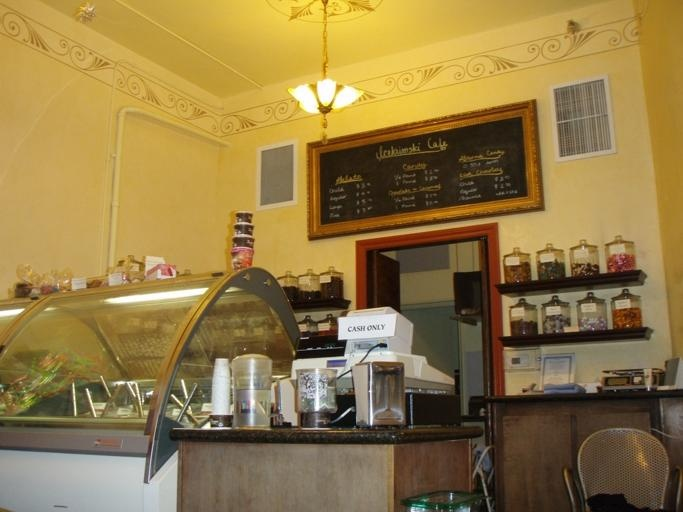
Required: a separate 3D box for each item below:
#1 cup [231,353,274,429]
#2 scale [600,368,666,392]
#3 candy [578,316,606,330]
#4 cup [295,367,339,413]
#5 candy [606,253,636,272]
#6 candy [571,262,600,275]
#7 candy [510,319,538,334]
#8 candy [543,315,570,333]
[{"bbox_3d":[-0.421,0.629,2.712,0.175,0.338,0.186,-2,-8,0],"label":"cup"},{"bbox_3d":[2.135,0.900,4.239,0.417,0.151,0.329,-6,-9,27],"label":"scale"},{"bbox_3d":[2.012,0.517,4.628,0.132,0.072,0.130,1,-4,-27],"label":"candy"},{"bbox_3d":[-0.115,0.577,2.565,0.187,0.198,0.197,0,-9,0],"label":"cup"},{"bbox_3d":[2.235,0.069,4.624,0.164,0.120,0.164,5,-9,-18],"label":"candy"},{"bbox_3d":[1.984,0.098,4.700,0.206,0.112,0.146,-5,-9,21],"label":"candy"},{"bbox_3d":[1.528,0.600,4.832,0.148,0.094,0.150,1,-12,5],"label":"candy"},{"bbox_3d":[1.767,0.553,4.730,0.218,0.151,0.202,-4,-8,16],"label":"candy"}]
